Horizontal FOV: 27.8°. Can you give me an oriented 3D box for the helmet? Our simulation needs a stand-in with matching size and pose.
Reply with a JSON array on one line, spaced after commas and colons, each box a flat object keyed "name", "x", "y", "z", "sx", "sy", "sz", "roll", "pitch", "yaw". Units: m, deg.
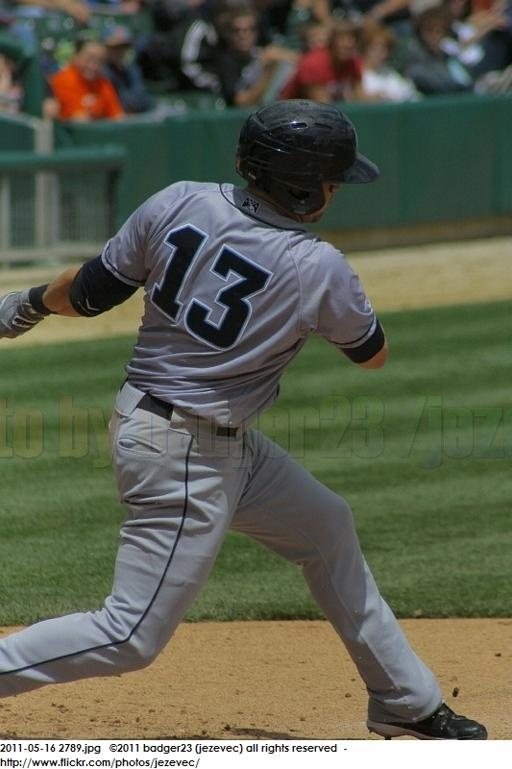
[{"name": "helmet", "x": 0.091, "y": -0.517, "z": 2.352, "sx": 0.361, "sy": 0.231, "sz": 0.216, "roll": -2, "pitch": 28, "yaw": -5}]

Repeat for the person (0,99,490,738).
[{"name": "person", "x": -0.050, "y": 0.226, "z": 2.448, "sx": 1.000, "sy": 1.393, "sz": 0.510, "roll": -1, "pitch": 2, "yaw": 7}]

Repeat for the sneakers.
[{"name": "sneakers", "x": 0.452, "y": 0.863, "z": 2.660, "sx": 0.332, "sy": 0.126, "sz": 0.108, "roll": -2, "pitch": -1, "yaw": 6}]
